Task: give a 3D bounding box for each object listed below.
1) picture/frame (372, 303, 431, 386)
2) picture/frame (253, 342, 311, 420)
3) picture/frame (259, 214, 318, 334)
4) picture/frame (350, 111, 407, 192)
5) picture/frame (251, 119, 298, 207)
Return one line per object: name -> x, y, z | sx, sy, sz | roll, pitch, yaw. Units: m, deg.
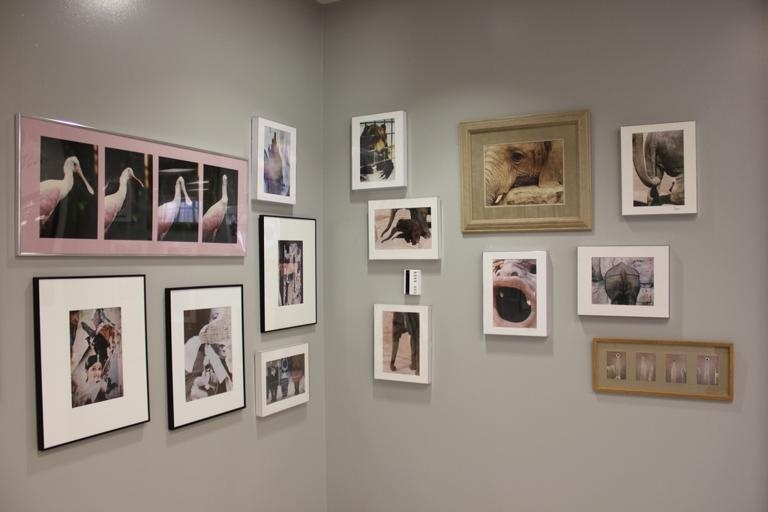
picture/frame -> 0.105, 0.454, 3.049 | 0.408, 0.555, 0.054 | 0, 1, 24
picture/frame -> -0.529, 0.622, 2.949 | 0.042, 0.404, 0.416 | 1, 1, 34
picture/frame -> -0.492, 0.089, 3.010 | 0.030, 0.564, 0.381 | -1, -2, 40
picture/frame -> -0.016, -0.543, 3.083 | 0.393, 0.557, 0.074 | -1, -4, 25
picture/frame -> -0.552, -0.465, 2.933 | 0.044, 0.395, 0.271 | -1, -2, 36
